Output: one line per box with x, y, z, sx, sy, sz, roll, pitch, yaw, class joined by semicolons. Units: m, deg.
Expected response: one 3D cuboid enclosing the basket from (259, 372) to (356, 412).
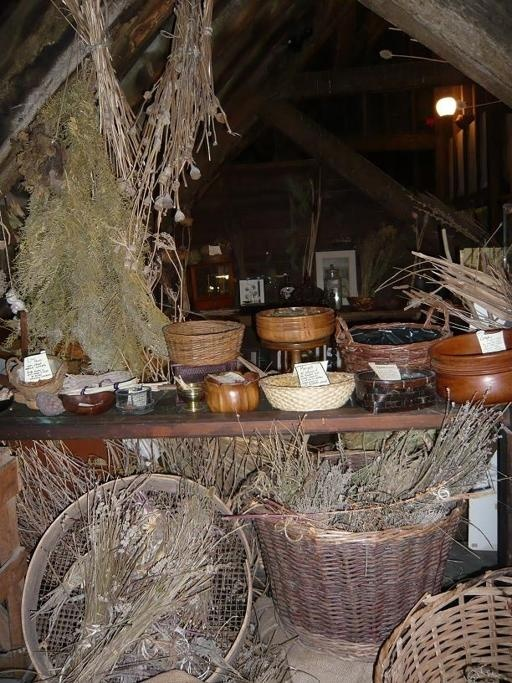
0.135;0.123;1.794;0.168;0.059;0.171;2;3;41;basket

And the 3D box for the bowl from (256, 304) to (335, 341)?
0.142;-0.061;2.158;0.277;0.117;0.339;-3;3;4;bowl

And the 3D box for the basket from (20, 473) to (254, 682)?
-0.366;0.669;1.793;0.695;0.530;0.538;-4;4;-3;basket

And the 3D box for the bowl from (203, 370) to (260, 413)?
-0.065;0.153;1.872;0.143;0.085;0.133;-1;2;0;bowl

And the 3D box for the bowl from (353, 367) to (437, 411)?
0.418;0.143;1.836;0.247;0.088;0.232;-4;8;1;bowl

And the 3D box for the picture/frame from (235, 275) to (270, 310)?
-0.028;-0.358;4.412;0.217;0.189;0.203;1;13;4;picture/frame

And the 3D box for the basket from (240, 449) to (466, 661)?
0.292;0.635;1.851;0.572;0.344;0.578;-2;-2;3;basket

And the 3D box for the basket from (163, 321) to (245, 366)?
-0.208;0.005;2.055;0.184;0.081;0.208;-6;11;-29;basket

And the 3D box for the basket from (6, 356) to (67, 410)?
-0.714;0.151;2.014;0.202;0.154;0.186;-3;25;-12;basket

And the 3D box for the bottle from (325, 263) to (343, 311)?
0.539;-0.362;4.252;0.112;0.292;0.231;-4;4;4;bottle
